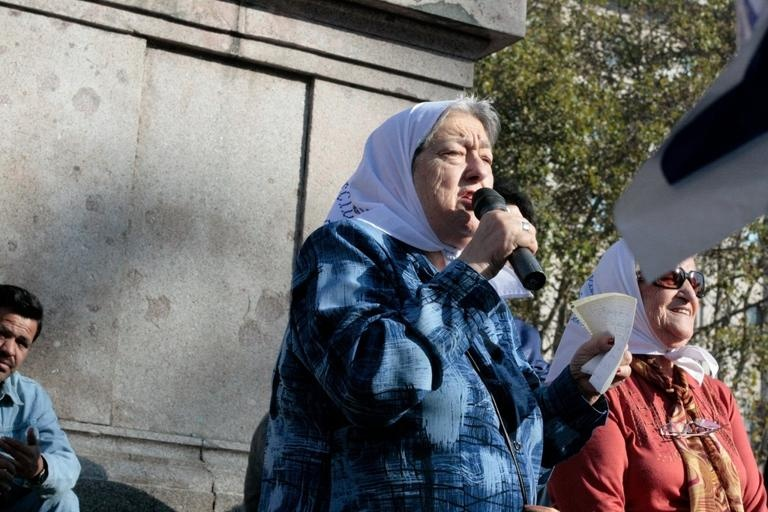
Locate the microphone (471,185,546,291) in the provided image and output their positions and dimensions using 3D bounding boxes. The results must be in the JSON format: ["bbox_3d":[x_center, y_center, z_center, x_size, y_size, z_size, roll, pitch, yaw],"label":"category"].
[{"bbox_3d":[0.694,-0.082,7.231,0.247,0.710,0.229,-10,-40,-13],"label":"microphone"}]

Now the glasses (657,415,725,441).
[{"bbox_3d":[1.886,1.078,8.271,0.366,0.186,0.196,11,-10,-1],"label":"glasses"}]

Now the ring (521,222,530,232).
[{"bbox_3d":[0.761,-0.157,7.135,0.052,0.045,0.012,8,-11,-34],"label":"ring"}]
